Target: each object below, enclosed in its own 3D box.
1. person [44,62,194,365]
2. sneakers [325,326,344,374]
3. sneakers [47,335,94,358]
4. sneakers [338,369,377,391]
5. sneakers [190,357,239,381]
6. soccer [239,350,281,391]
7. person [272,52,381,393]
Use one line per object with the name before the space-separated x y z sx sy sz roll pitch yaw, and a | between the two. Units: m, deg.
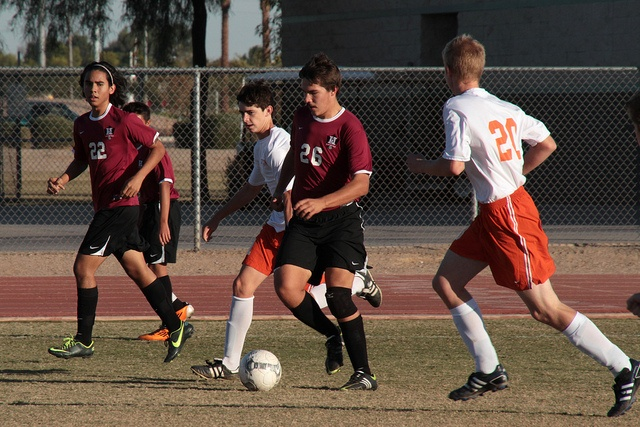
person | -2.142 -0.020 8.718 1.273 3.064 1.030 -3 11 -13
sneakers | 0.148 1.354 8.222 0.147 0.401 0.199 0 -7 26
sneakers | -2.539 1.400 8.601 0.469 0.247 0.215 -6 12 -27
sneakers | 0.394 1.598 8.049 0.432 0.198 0.137 0 -3 -16
sneakers | -1.026 1.511 8.212 0.510 0.203 0.176 7 1 -11
soccer | -0.512 1.534 8.183 0.401 0.365 0.379 -14 -10 -21
person | 0.078 0.068 8.053 0.998 3.165 0.833 1 11 5
